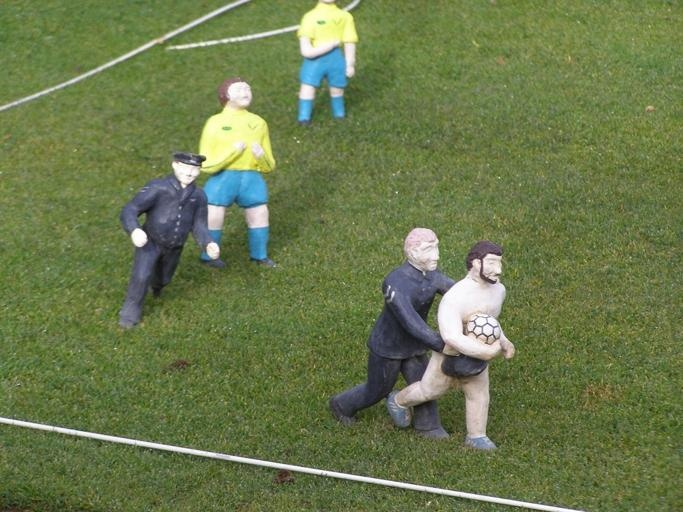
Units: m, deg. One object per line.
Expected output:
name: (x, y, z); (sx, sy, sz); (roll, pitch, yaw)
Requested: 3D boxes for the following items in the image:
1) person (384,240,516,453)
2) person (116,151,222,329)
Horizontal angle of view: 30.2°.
person: (1.549, 1.204, 15.908); (1.500, 2.425, 1.109); (-19, 39, -27)
person: (-2.465, -0.244, 17.727); (1.448, 2.133, 0.950); (-11, 36, -18)
